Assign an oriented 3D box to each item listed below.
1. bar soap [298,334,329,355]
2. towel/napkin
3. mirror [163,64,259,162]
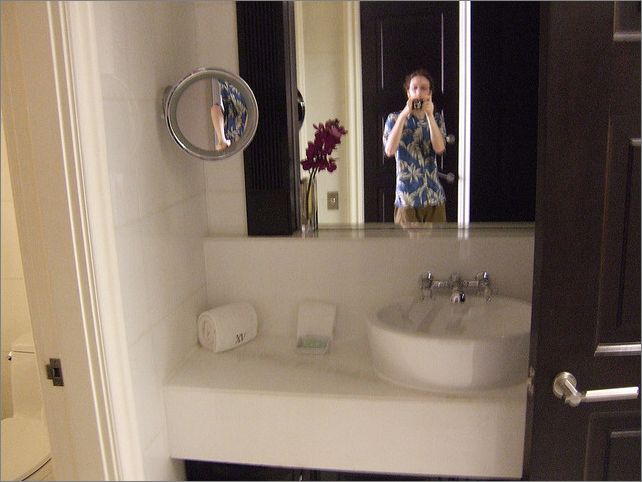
[{"bbox_3d":[-0.031,0.374,1.998,0.074,0.029,0.064,0,38,7],"label":"bar soap"},{"bbox_3d":[-0.345,0.306,2.064,0.146,0.162,0.199,22,24,38],"label":"towel/napkin"},{"bbox_3d":[-0.367,-0.433,1.882,0.305,0.301,0.051,-5,10,-18],"label":"mirror"}]
